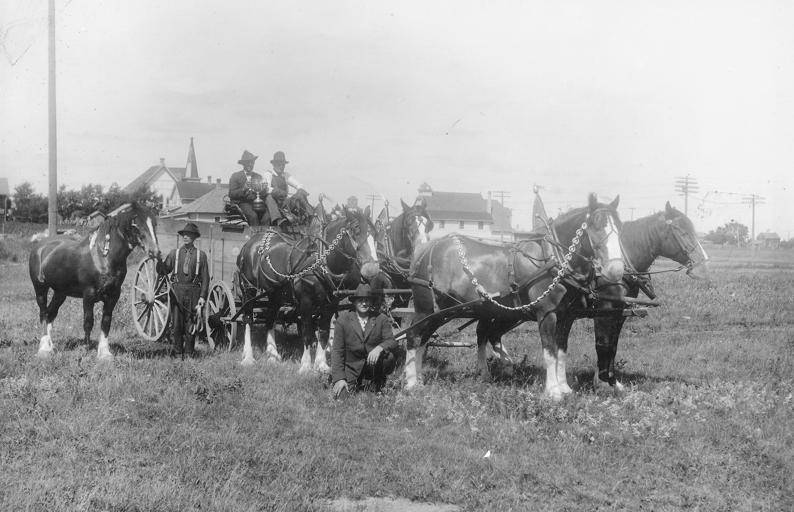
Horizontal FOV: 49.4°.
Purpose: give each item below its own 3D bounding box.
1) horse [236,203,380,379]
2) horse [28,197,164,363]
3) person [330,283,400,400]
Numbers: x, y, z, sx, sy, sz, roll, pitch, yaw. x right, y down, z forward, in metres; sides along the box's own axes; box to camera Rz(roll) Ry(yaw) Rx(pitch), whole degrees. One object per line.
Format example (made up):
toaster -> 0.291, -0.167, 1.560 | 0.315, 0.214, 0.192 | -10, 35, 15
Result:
horse -> -2.247, 0.766, 19.866 | 4.598, 3.502, 1.393 | -3, -1, 37
horse -> -6.953, 0.670, 19.582 | 4.062, 3.289, 1.222 | -2, -4, 32
person -> -0.664, 1.685, 17.247 | 1.242, 2.194, 0.547 | 2, 2, -5
